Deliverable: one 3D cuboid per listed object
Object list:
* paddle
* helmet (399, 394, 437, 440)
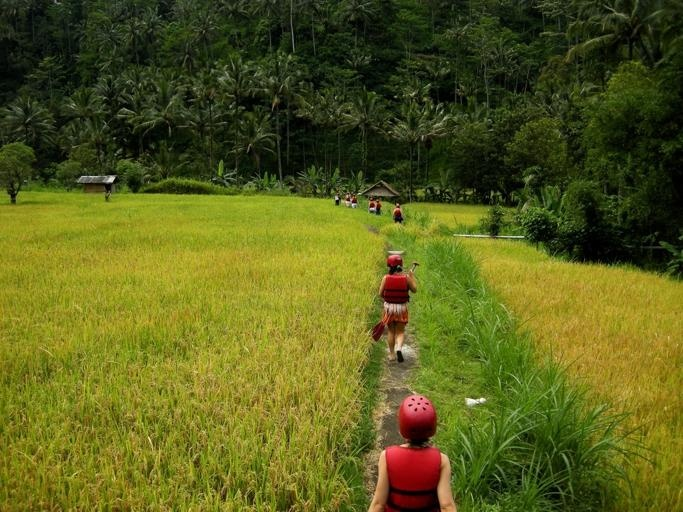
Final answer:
[{"bbox_3d":[1.035,0.927,12.001,0.899,1.854,0.588,1,4,-14],"label":"paddle"},{"bbox_3d":[0.919,1.970,7.783,0.354,0.503,0.541,-1,34,2],"label":"helmet"}]
